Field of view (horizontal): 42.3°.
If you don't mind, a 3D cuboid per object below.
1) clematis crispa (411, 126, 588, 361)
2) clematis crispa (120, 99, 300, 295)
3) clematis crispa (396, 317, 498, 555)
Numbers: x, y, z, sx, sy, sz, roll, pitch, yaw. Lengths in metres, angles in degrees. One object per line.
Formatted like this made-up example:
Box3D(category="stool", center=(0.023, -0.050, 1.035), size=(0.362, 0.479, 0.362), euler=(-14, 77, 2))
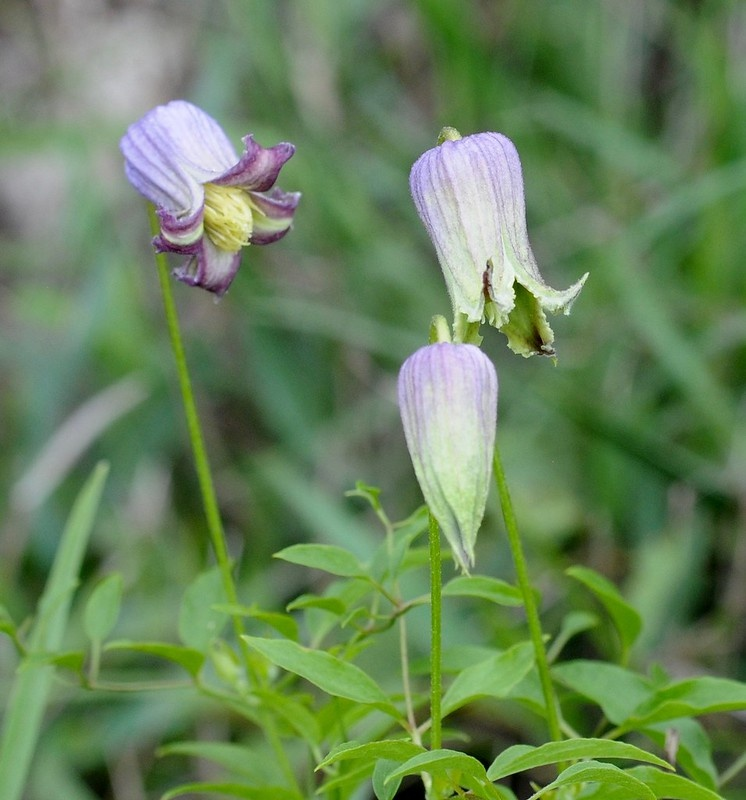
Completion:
Box3D(category="clematis crispa", center=(0.096, -0.140, 0.786), size=(0.104, 0.169, 0.098), euler=(-14, 12, -6))
Box3D(category="clematis crispa", center=(-0.174, -0.190, 0.986), size=(0.164, 0.198, 0.121), euler=(-28, -5, -29))
Box3D(category="clematis crispa", center=(0.063, 0.036, 0.725), size=(0.074, 0.148, 0.070), euler=(-12, 12, 2))
